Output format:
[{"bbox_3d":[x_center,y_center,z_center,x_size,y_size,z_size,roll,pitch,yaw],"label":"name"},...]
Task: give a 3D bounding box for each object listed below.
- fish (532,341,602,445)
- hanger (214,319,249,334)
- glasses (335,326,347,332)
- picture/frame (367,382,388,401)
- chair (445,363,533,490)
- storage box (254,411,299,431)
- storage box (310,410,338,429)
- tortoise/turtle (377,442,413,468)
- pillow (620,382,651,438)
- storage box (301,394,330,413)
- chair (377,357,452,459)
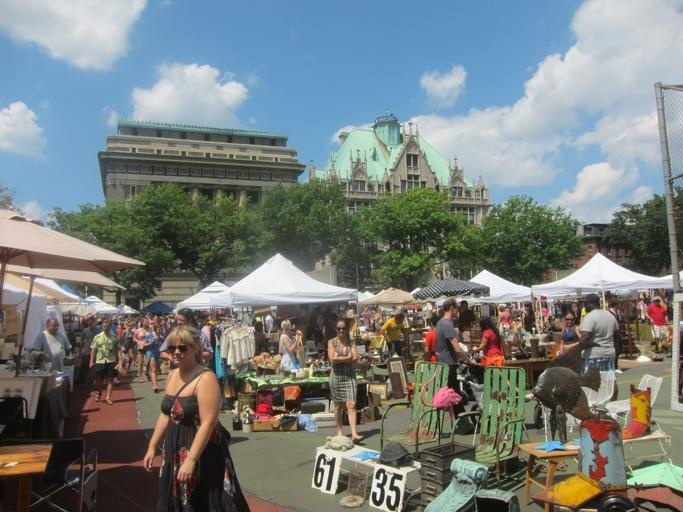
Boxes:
[{"bbox_3d":[3.111,1.788,8.815,0.742,1.442,0.859,0,-1,1],"label":"fish"},{"bbox_3d":[-2.564,1.667,15.040,0.580,0.280,0.800,2,-12,-20],"label":"hanger"},{"bbox_3d":[0.016,1.339,11.600,0.185,0.112,0.332,-3,-9,0],"label":"glasses"},{"bbox_3d":[0.814,3.062,14.288,0.669,0.505,0.094,6,-39,-16],"label":"picture/frame"},{"bbox_3d":[2.252,2.511,9.613,1.017,1.855,1.057,-2,-1,-11],"label":"chair"},{"bbox_3d":[-1.304,3.353,12.735,0.929,0.295,0.231,-2,-8,-4],"label":"storage box"},{"bbox_3d":[-0.346,3.334,12.905,0.467,0.279,0.290,-2,-8,-6],"label":"storage box"},{"bbox_3d":[0.788,2.873,9.217,0.474,0.303,0.336,-2,-8,-3],"label":"tortoise/turtle"},{"bbox_3d":[4.173,2.204,9.030,0.388,0.715,0.607,-6,-9,25],"label":"pillow"},{"bbox_3d":[-0.527,3.206,13.632,0.622,0.267,1.176,-2,-9,-3],"label":"storage box"},{"bbox_3d":[1.164,2.427,10.063,0.944,1.441,0.998,4,-7,-23],"label":"chair"}]
